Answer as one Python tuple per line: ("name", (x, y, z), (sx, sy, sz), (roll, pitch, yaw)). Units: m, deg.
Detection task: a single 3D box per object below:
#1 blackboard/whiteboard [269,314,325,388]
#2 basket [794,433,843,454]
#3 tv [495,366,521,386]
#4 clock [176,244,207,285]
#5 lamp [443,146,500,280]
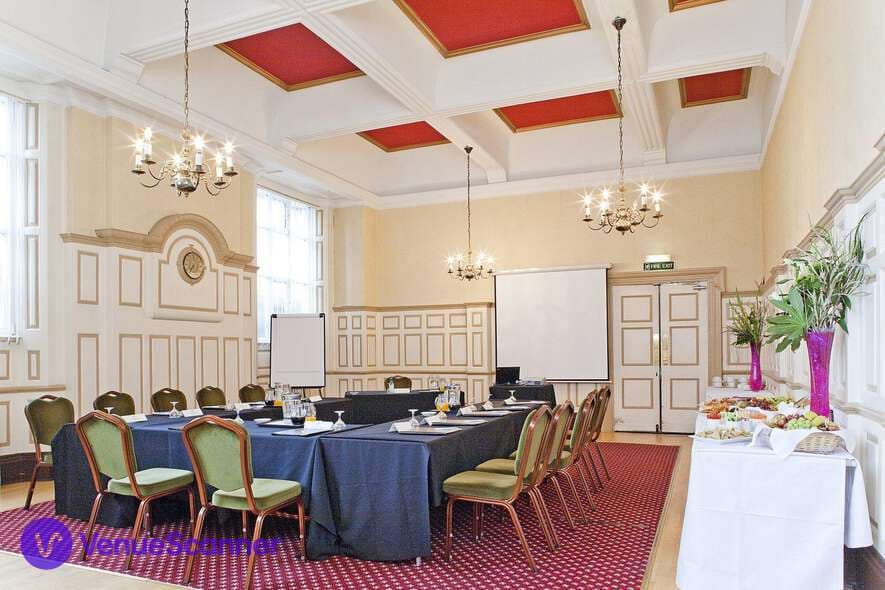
("blackboard/whiteboard", (-2.695, 1.068, 10.877), (1.257, 1.755, 0.116), (0, -6, 0))
("basket", (2.854, 1.089, 4.389), (0.462, 0.160, 0.182), (3, -6, -27))
("tv", (1.088, 1.372, 9.934), (0.362, 0.360, 0.274), (0, -12, 6))
("clock", (-3.960, -0.458, 9.344), (0.597, 0.620, 0.078), (7, 9, 19))
("lamp", (0.499, -1.606, 11.893), (1.036, 2.673, 1.208), (-1, -5, 10))
